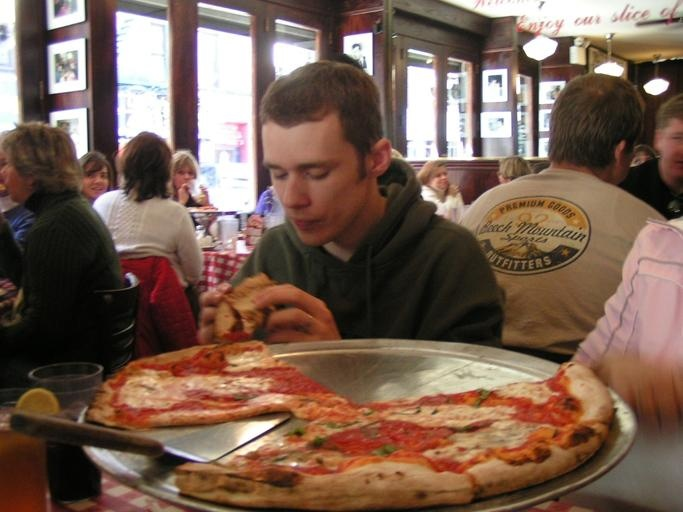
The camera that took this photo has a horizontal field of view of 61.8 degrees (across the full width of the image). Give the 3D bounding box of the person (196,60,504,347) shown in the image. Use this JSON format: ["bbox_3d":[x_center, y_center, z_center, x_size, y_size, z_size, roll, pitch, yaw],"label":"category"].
[{"bbox_3d":[0.051,-0.143,1.627,0.612,0.753,0.574,-9,10,-7],"label":"person"}]

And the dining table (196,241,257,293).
[{"bbox_3d":[-0.761,0.071,3.695,0.427,0.187,0.422,6,12,35],"label":"dining table"}]

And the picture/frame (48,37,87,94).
[{"bbox_3d":[-2.149,-1.494,4.488,0.535,0.433,0.041,3,5,33],"label":"picture/frame"}]

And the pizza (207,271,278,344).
[{"bbox_3d":[-0.233,0.134,1.390,0.172,0.147,0.102,-9,10,-15],"label":"pizza"}]

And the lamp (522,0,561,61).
[{"bbox_3d":[2.730,-2.890,7.844,0.401,0.422,0.668,-4,9,19],"label":"lamp"}]
